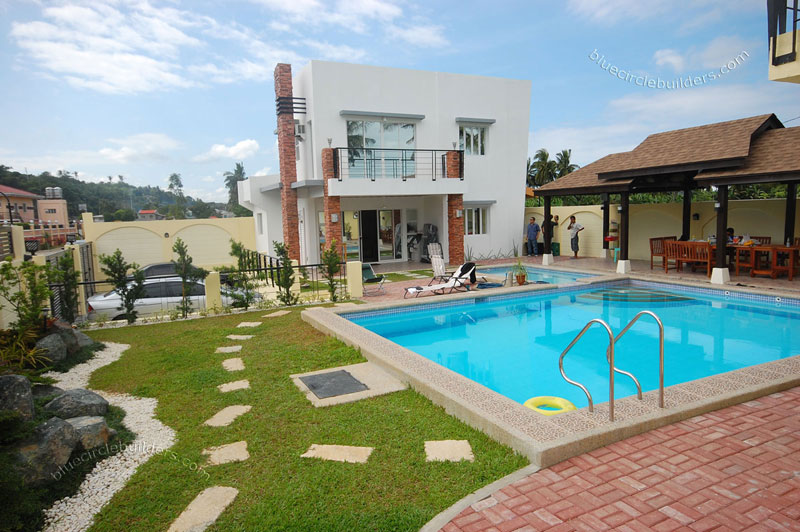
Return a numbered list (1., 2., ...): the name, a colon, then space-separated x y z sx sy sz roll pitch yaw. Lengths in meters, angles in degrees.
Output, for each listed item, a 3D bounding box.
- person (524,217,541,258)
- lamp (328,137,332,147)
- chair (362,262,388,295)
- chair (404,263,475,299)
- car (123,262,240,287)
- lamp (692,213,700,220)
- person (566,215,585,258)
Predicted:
1. person: 7.096 -1.516 25.877 0.745 1.836 1.511 3 12 15
2. lamp: -3.047 -5.395 21.099 0.196 0.376 0.294 0 12 1
3. chair: -0.924 0.466 17.437 0.751 1.028 1.124 -3 1 -29
4. chair: 1.392 0.576 16.073 2.252 0.864 1.077 -7 9 -20
5. car: -7.455 0.301 16.393 1.894 0.638 0.850 -5 13 -25
6. lamp: 12.415 -2.067 20.293 0.266 0.263 0.279 -4 8 -25
7. person: 8.752 -1.465 24.207 0.737 2.039 1.520 4 13 21
